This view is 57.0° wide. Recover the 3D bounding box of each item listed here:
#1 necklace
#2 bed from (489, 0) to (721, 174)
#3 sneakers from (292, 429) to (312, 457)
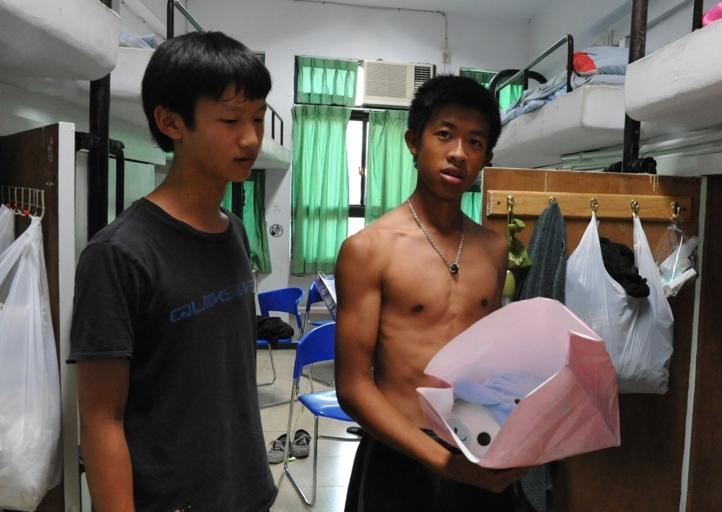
[{"bbox_3d":[0.309,-0.061,2.573,0.161,0.324,0.070,-14,-11,-25],"label":"necklace"},{"bbox_3d":[1.494,-1.021,4.564,0.680,0.665,1.367,2,10,-10],"label":"bed"},{"bbox_3d":[-0.392,1.248,4.419,0.078,0.099,0.234,1,-3,-4],"label":"sneakers"}]
